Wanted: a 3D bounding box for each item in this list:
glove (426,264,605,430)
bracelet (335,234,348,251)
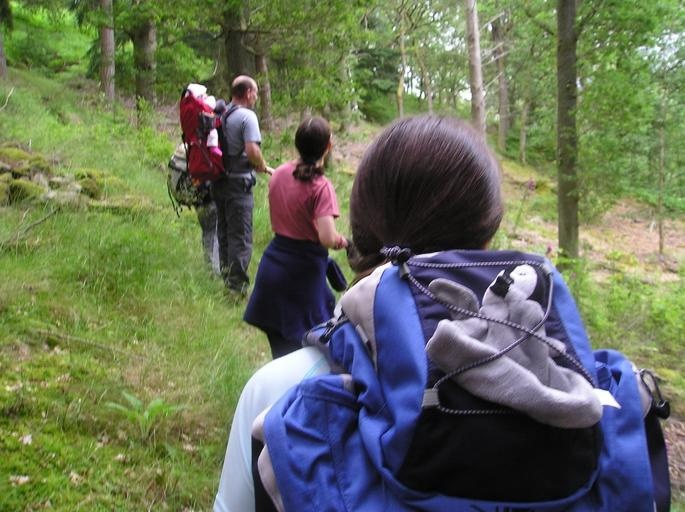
[{"bbox_3d":[0.847,0.555,3.554,0.900,0.654,0.432,47,-19,8],"label":"glove"},{"bbox_3d":[-0.016,-0.115,6.006,0.090,0.163,0.263,-4,-8,0],"label":"bracelet"}]
